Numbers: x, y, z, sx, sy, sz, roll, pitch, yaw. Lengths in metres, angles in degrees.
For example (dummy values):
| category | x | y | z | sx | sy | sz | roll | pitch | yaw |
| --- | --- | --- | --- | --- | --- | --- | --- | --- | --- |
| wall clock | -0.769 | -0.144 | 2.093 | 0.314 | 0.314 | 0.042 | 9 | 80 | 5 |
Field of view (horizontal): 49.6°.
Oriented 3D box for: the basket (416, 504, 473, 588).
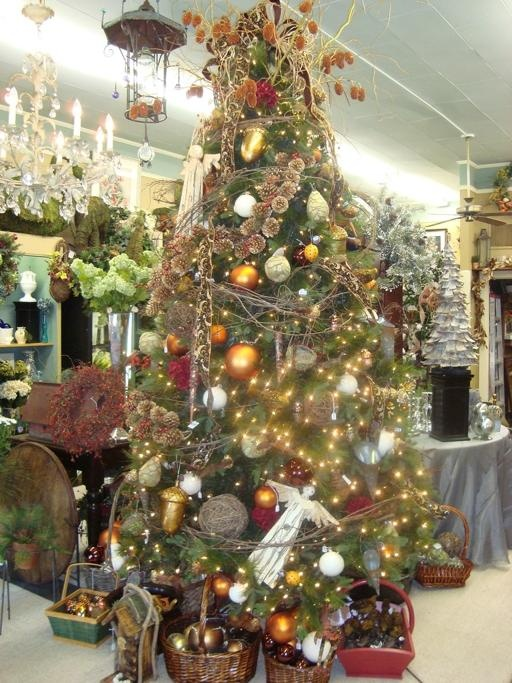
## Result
| category | x | y | z | sx | sy | sz | roll | pitch | yaw |
| --- | --- | --- | --- | --- | --- | --- | --- | --- | --- |
| basket | 0.894 | 0.971 | 2.662 | 0.248 | 0.305 | 0.231 | -1 | -1 | 18 |

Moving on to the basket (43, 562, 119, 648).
| category | x | y | z | sx | sy | sz | roll | pitch | yaw |
| --- | --- | --- | --- | --- | --- | --- | --- | --- | --- |
| basket | -0.640 | 0.993 | 2.124 | 0.227 | 0.229 | 0.245 | 1 | -2 | 9 |

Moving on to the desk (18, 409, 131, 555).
| category | x | y | z | sx | sy | sz | roll | pitch | yaw |
| --- | --- | --- | --- | --- | --- | --- | --- | --- | --- |
| desk | -0.772 | 0.612 | 2.793 | 0.685 | 0.695 | 0.652 | 0 | 1 | -28 |

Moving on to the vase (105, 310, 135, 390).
| category | x | y | z | sx | sy | sz | roll | pitch | yaw |
| --- | --- | --- | --- | --- | --- | --- | --- | --- | --- |
| vase | -0.611 | 0.030 | 2.530 | 0.125 | 0.349 | 0.131 | 2 | -1 | -13 |

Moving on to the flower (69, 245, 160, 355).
| category | x | y | z | sx | sy | sz | roll | pitch | yaw |
| --- | --- | --- | --- | --- | --- | --- | --- | --- | --- |
| flower | -0.675 | -0.251 | 2.610 | 0.353 | 0.267 | 0.238 | 2 | -1 | -11 |
